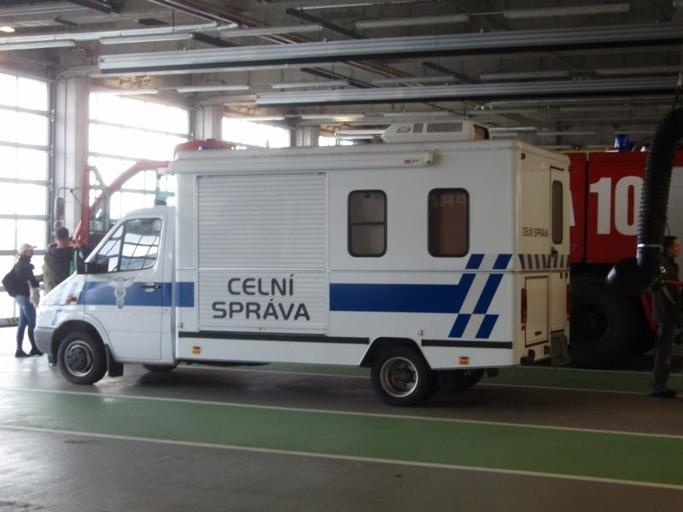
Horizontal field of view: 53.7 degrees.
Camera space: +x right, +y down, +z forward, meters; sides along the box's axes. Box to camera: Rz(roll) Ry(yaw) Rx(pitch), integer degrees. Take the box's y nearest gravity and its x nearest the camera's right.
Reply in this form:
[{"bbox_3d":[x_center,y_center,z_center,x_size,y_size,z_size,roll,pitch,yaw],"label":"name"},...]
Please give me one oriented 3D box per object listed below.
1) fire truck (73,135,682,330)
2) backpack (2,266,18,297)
[{"bbox_3d":[0.502,-0.333,16.068,13.118,6.194,4.859,1,2,22],"label":"fire truck"},{"bbox_3d":[-6.517,0.536,13.278,0.235,0.560,0.564,-1,2,-27],"label":"backpack"}]
